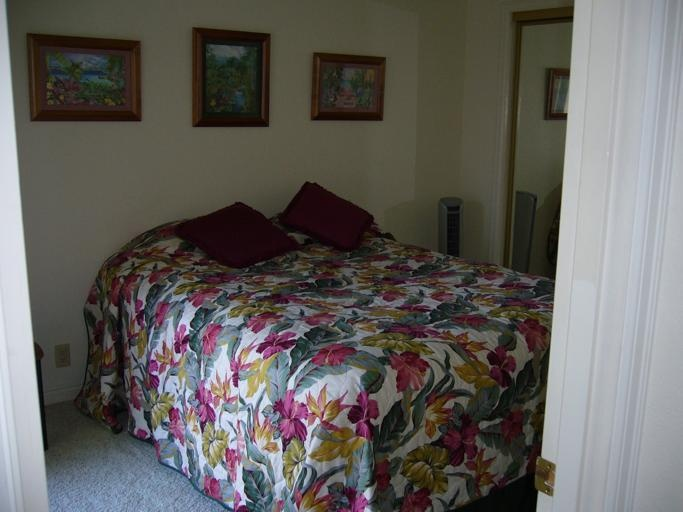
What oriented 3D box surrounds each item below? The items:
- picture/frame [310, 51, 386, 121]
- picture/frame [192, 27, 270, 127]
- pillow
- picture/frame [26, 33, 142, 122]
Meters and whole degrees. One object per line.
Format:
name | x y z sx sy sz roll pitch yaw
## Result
picture/frame | 0.027 -1.345 4.036 0.568 0.439 0.024 -7 20 -33
picture/frame | -0.784 -1.260 3.575 0.672 0.804 0.061 -3 7 -32
pillow | -0.411 -0.190 3.402 0.574 0.153 0.925 40 32 28
picture/frame | -1.567 -1.084 3.103 0.566 0.445 0.022 -4 8 -36
